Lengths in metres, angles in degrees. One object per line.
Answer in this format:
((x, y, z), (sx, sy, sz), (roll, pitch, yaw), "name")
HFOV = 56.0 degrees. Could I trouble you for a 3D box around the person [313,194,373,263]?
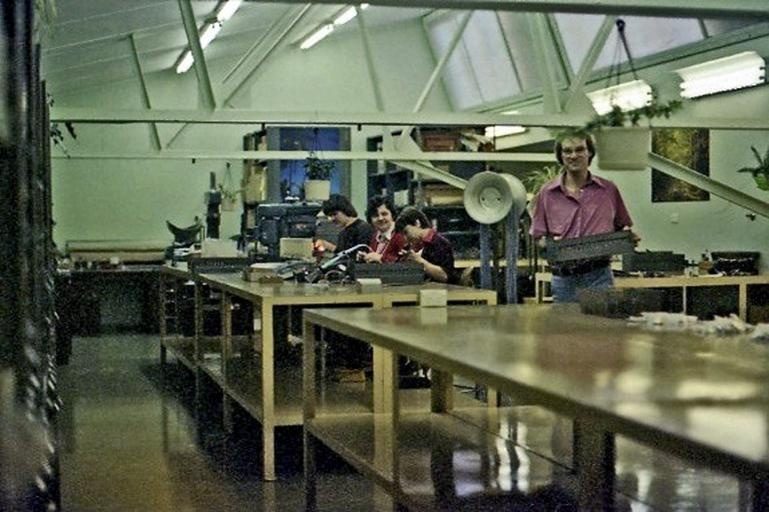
((-0.293, -0.223, 5.986), (0.547, 0.814, 0.559), (0, 1, -9), "person")
